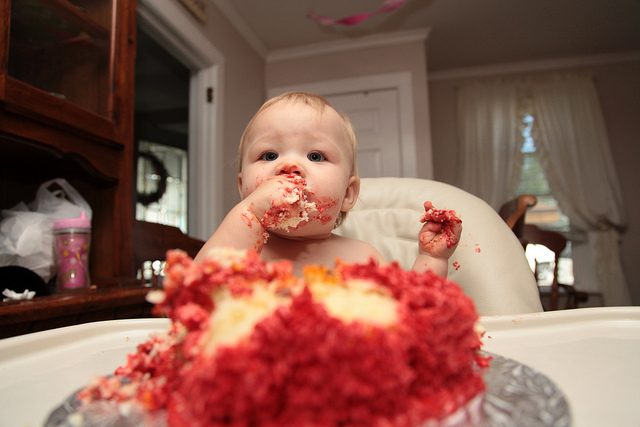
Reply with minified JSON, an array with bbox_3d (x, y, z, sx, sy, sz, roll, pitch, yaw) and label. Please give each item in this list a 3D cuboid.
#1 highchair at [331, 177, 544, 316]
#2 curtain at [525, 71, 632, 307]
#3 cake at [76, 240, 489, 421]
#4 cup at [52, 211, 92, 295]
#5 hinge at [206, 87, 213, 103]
[{"bbox_3d":[0.312,0.145,1.423,0.421,0.544,0.500,-2,-25,-1],"label":"highchair"},{"bbox_3d":[2.703,-0.295,4.486,0.868,2.425,0.332,-4,-9,18],"label":"curtain"},{"bbox_3d":[-0.020,0.171,0.632,0.378,0.145,0.300,2,-1,-2],"label":"cake"},{"bbox_3d":[-0.743,0.113,1.294,0.102,0.241,0.067,4,-10,-30],"label":"cup"},{"bbox_3d":[-0.713,-0.769,2.805,0.057,0.085,0.022,0,-4,-10],"label":"hinge"}]
